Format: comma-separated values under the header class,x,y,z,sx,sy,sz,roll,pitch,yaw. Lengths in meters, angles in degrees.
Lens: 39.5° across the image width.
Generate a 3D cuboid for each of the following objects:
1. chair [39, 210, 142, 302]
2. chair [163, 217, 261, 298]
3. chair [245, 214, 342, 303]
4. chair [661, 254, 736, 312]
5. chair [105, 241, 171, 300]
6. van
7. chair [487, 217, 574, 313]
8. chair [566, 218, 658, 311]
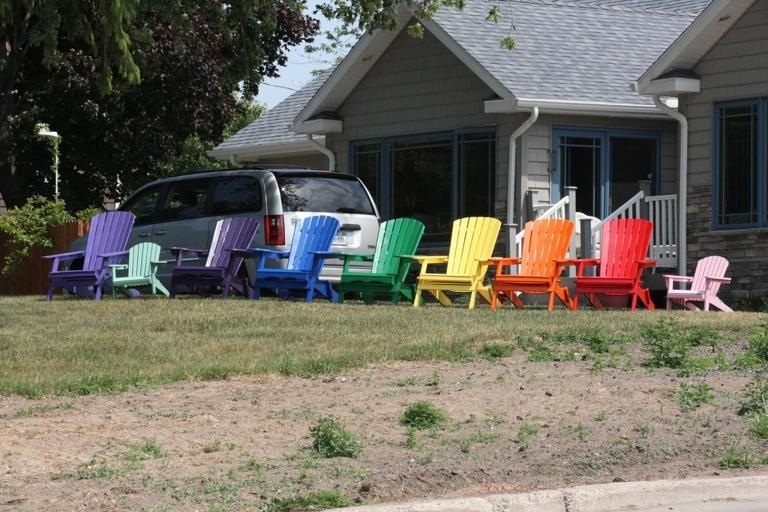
class,x,y,z,sx,sy,sz,roll,pitch,yaw
chair,-4.748,0.004,17.878,1.399,2.030,1.547,0,0,27
chair,-2.597,0.014,17.292,1.194,1.287,1.416,0,4,30
chair,-1.462,0.057,17.081,1.263,1.660,1.366,1,-5,36
chair,4.610,0.411,15.661,0.832,0.854,0.959,0,0,38
chair,-4.057,0.236,17.270,1.021,1.128,0.905,-1,3,22
van,-2.305,-0.829,17.814,3.511,1.328,1.950,4,1,33
chair,2.310,0.079,16.143,1.046,1.312,1.354,5,8,31
chair,3.413,0.149,15.827,1.034,1.447,1.440,4,6,30
